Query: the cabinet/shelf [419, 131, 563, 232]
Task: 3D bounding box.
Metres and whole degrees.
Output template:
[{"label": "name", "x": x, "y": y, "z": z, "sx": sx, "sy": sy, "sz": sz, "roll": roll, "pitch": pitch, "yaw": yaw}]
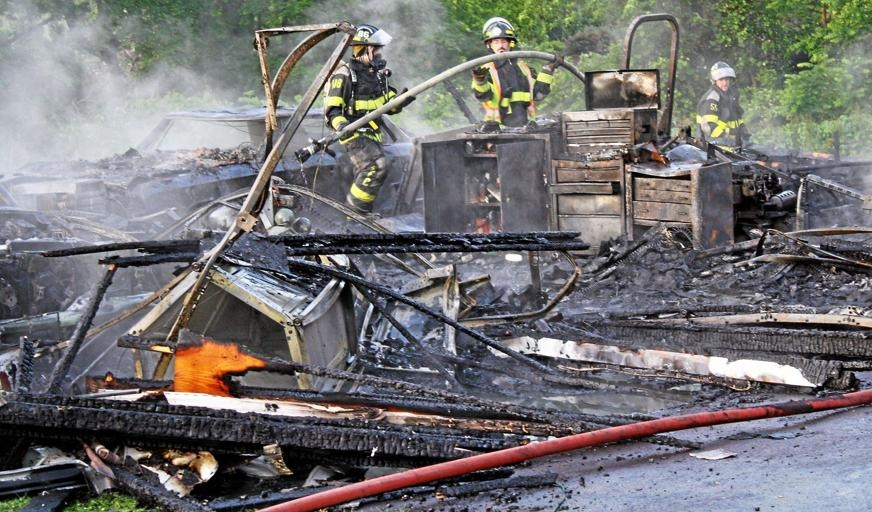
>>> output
[{"label": "cabinet/shelf", "x": 0.959, "y": -1.095, "z": 13.054, "sx": 2.165, "sy": 1.543, "sz": 1.668, "roll": 2, "pitch": 13, "yaw": 26}]
